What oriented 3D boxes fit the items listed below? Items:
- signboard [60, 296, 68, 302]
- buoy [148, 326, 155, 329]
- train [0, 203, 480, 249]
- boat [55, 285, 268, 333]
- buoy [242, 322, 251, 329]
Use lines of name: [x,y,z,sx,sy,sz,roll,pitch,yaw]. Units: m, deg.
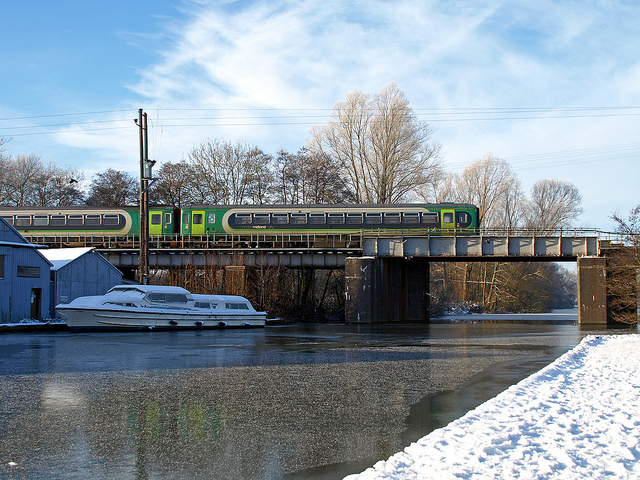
signboard: [-14.155,3.284,49.583,0.531,0.297,0.261,0,0,4]
buoy: [-8.390,4.372,44.649,0.348,0.108,0.191,3,-4,33]
train: [-4.166,-0.796,56.941,34.323,3.557,3.468,0,-1,1]
boat: [-8.083,3.669,47.083,3.853,2.272,12.959,-1,-4,41]
buoy: [-3.998,4.747,49.351,0.362,0.322,0.416,-1,-4,16]
